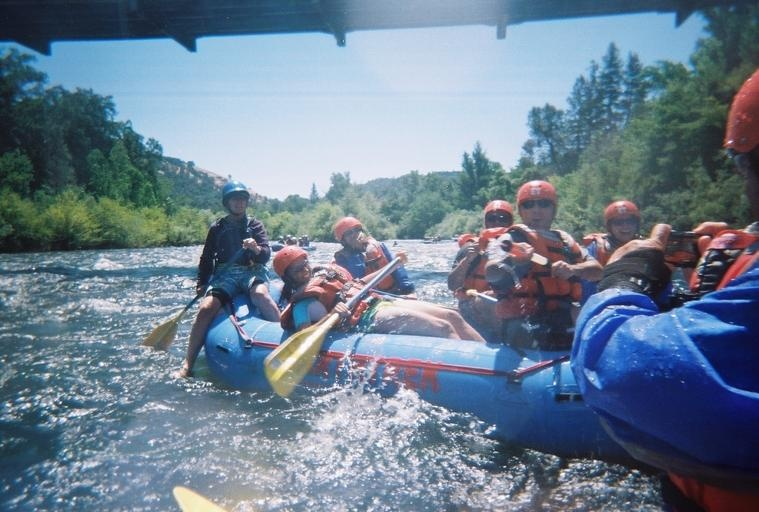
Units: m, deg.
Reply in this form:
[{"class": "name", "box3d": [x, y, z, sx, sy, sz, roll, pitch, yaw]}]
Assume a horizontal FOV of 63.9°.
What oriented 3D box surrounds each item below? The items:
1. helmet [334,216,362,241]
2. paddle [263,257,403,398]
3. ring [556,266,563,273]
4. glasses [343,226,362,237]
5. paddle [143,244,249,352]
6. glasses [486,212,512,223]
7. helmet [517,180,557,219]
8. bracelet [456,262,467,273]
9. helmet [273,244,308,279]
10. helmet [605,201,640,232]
[{"class": "helmet", "box3d": [-0.572, -0.469, 9.720, 0.416, 0.328, 0.405, -17, 4, 17]}, {"class": "paddle", "box3d": [-0.627, 0.958, 7.664, 0.477, 0.187, 2.333, 40, 56, 22]}, {"class": "ring", "box3d": [1.995, 0.141, 6.772, 0.088, 0.075, 0.012, 1, 10, 4]}, {"class": "glasses", "box3d": [-0.433, -0.402, 9.576, 0.206, 0.053, 0.147, -24, -5, 34]}, {"class": "paddle", "box3d": [-3.272, 0.759, 10.636, 2.525, 0.501, 0.110, -43, 26, 6]}, {"class": "glasses", "box3d": [1.657, -0.532, 8.526, 0.203, 0.079, 0.194, -6, 12, -40]}, {"class": "helmet", "box3d": [1.914, -0.715, 7.557, 0.462, 0.470, 0.606, -2, -1, 8]}, {"class": "bracelet", "box3d": [1.114, 0.153, 8.292, 0.092, 0.086, 0.025, 23, 11, 42]}, {"class": "helmet", "box3d": [-1.174, 0.075, 8.002, 0.431, 0.332, 0.331, -1, 7, 0]}, {"class": "helmet", "box3d": [3.490, -0.578, 8.786, 0.352, 0.467, 0.354, -2, 47, 19]}]
